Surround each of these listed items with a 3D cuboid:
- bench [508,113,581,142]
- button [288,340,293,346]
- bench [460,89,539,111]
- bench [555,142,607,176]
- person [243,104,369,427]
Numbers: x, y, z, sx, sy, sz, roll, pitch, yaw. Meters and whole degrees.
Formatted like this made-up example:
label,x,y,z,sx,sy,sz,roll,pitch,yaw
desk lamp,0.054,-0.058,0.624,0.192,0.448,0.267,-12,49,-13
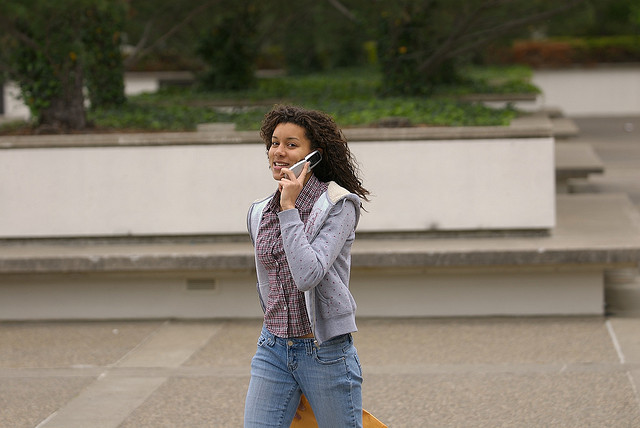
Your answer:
label,x,y,z,sx,sy,sz,roll,pitch,yaw
bench,2.215,-0.849,14.247,0.703,0.282,0.086,-3,9,6
button,-0.247,1.030,11.715,0.045,0.041,0.011,3,0,8
bench,1.780,-1.115,14.254,0.751,0.195,0.059,-3,9,9
bench,2.588,-0.564,14.296,0.501,0.295,0.048,-4,9,-1
person,-0.143,0.419,11.840,1.076,2.606,0.649,-5,9,1
